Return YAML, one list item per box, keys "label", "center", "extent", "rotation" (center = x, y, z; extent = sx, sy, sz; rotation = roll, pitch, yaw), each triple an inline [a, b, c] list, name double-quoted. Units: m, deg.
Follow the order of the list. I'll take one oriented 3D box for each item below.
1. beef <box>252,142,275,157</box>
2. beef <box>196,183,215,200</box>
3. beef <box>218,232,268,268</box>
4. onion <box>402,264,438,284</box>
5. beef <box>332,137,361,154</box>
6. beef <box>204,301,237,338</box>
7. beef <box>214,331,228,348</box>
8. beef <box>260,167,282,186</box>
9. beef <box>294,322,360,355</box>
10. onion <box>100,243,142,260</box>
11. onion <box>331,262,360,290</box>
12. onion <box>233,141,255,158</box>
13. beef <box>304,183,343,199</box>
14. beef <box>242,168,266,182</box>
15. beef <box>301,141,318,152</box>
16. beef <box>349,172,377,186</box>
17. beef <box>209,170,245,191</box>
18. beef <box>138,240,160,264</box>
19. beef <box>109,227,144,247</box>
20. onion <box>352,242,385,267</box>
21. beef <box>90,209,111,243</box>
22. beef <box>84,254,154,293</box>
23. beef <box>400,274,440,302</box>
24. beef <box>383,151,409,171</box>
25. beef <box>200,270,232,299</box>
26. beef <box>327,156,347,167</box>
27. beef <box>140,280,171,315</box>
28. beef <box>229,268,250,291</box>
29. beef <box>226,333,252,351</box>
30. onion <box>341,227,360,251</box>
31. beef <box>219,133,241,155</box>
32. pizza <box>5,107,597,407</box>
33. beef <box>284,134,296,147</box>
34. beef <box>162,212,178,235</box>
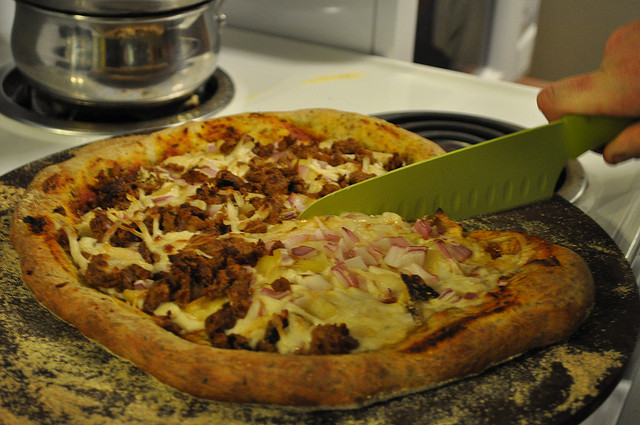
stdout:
- label: "beef"
  center: [-0.139, -0.159, 1.469]
  extent: [0.053, 0.010, 0.037]
  rotation: [1, 38, 5]
- label: "beef"
  center: [-0.254, -0.048, 1.324]
  extent: [0.043, 0.009, 0.032]
  rotation: [16, 63, 21]
- label: "beef"
  center: [-0.160, 0.074, 1.173]
  extent: [0.080, 0.021, 0.085]
  rotation: [39, 37, 24]
- label: "onion"
  center: [0.199, 0.119, 1.159]
  extent: [0.050, 0.013, 0.044]
  rotation: [17, -2, -25]
- label: "beef"
  center: [0.068, -0.167, 1.457]
  extent: [0.068, 0.015, 0.042]
  rotation: [4, 72, -3]
- label: "beef"
  center: [-0.185, 0.202, 1.103]
  extent: [0.034, 0.110, 0.060]
  rotation: [-9, 87, -27]
- label: "beef"
  center: [-0.170, 0.223, 1.046]
  extent: [0.022, 0.007, 0.027]
  rotation: [-43, 66, -9]
- label: "beef"
  center: [-0.121, -0.082, 1.378]
  extent: [0.061, 0.013, 0.039]
  rotation: [-3, 63, 5]
- label: "beef"
  center: [0.014, 0.225, 1.038]
  extent: [0.114, 0.038, 0.053]
  rotation: [1, 41, -3]
- label: "onion"
  center: [-0.399, 0.078, 1.173]
  extent: [0.055, 0.011, 0.045]
  rotation: [16, 5, -7]
- label: "onion"
  center: [0.052, 0.110, 1.153]
  extent: [0.051, 0.018, 0.079]
  rotation: [-5, 12, -5]
- label: "onion"
  center: [-0.186, -0.159, 1.455]
  extent: [0.061, 0.013, 0.028]
  rotation: [-27, 44, -1]
- label: "beef"
  center: [0.009, -0.051, 1.355]
  extent: [0.059, 0.012, 0.051]
  rotation: [-18, 7, -8]
- label: "beef"
  center: [-0.154, -0.089, 1.389]
  extent: [0.050, 0.037, 0.012]
  rotation: [-20, 16, 20]
- label: "beef"
  center: [-0.022, -0.169, 1.471]
  extent: [0.036, 0.006, 0.029]
  rotation: [-11, 13, -26]
- label: "beef"
  center: [0.098, -0.079, 1.371]
  extent: [0.045, 0.034, 0.013]
  rotation: [16, 48, -55]
- label: "beef"
  center: [-0.213, -0.074, 1.358]
  extent: [0.071, 0.016, 0.054]
  rotation: [-25, 62, -20]
- label: "beef"
  center: [-0.345, 0.079, 1.180]
  extent: [0.034, 0.011, 0.053]
  rotation: [-38, 64, -20]
- label: "beef"
  center: [-0.392, 0.050, 1.208]
  extent: [0.057, 0.012, 0.050]
  rotation: [5, 14, -36]
- label: "onion"
  center: [0.095, 0.085, 1.193]
  extent: [0.051, 0.014, 0.050]
  rotation: [37, 47, 15]
- label: "beef"
  center: [-0.452, 0.023, 1.199]
  extent: [0.058, 0.016, 0.056]
  rotation: [2, 72, -9]
- label: "beef"
  center: [-0.385, 0.119, 1.127]
  extent: [0.118, 0.045, 0.064]
  rotation: [7, 41, 5]
- label: "beef"
  center: [0.195, 0.143, 1.130]
  extent: [0.059, 0.018, 0.064]
  rotation: [-6, 38, -12]
- label: "beef"
  center: [0.184, -0.125, 1.425]
  extent: [0.060, 0.018, 0.046]
  rotation: [-39, 57, -16]
- label: "beef"
  center: [-0.184, 0.138, 1.152]
  extent: [0.055, 0.023, 0.065]
  rotation: [25, 56, 41]
- label: "beef"
  center: [0.041, -0.125, 1.422]
  extent: [0.038, 0.008, 0.025]
  rotation: [-1, 55, 15]
- label: "beef"
  center: [-0.305, 0.160, 1.096]
  extent: [0.044, 0.014, 0.063]
  rotation: [36, 70, 8]
- label: "beef"
  center: [-0.154, 0.128, 1.117]
  extent: [0.023, 0.024, 0.052]
  rotation: [52, 29, -6]
- label: "beef"
  center: [-0.143, 0.230, 1.049]
  extent: [0.035, 0.013, 0.040]
  rotation: [-11, 40, -18]
- label: "onion"
  center: [0.062, 0.052, 1.196]
  extent: [0.041, 0.012, 0.039]
  rotation: [-27, 78, -26]
- label: "beef"
  center: [-0.215, -0.173, 1.468]
  extent: [0.068, 0.016, 0.037]
  rotation: [-39, 68, -23]
- label: "pizza"
  center: [-0.073, 0.029, 1.201]
  extent: [0.939, 0.176, 0.942]
  rotation: [-21, 43, -28]
- label: "beef"
  center: [-0.074, -0.183, 1.480]
  extent: [0.034, 0.008, 0.023]
  rotation: [-7, 77, -34]
- label: "beef"
  center: [-0.318, 0.022, 1.237]
  extent: [0.053, 0.012, 0.035]
  rotation: [-1, 85, -31]
